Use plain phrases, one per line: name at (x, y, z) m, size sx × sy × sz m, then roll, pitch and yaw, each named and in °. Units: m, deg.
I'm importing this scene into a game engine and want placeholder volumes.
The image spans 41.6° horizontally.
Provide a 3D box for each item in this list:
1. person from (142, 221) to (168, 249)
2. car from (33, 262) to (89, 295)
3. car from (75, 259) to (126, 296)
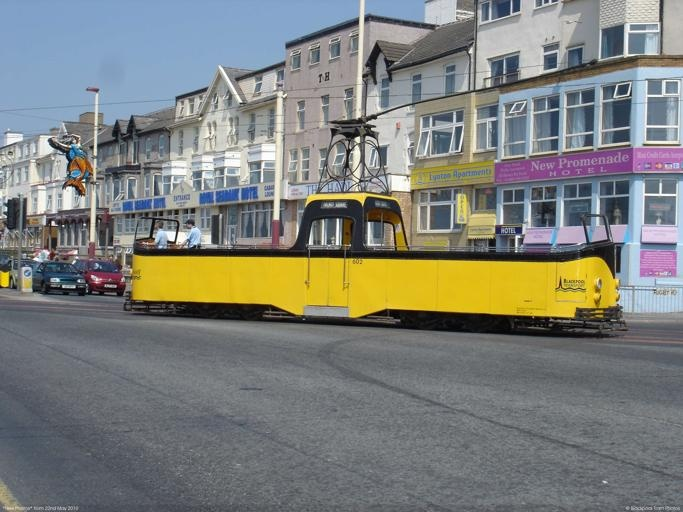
person at (-5.234, -0.632, 25.329) m, size 0.626 × 0.724 × 1.775 m, roll -1°, pitch 4°, yaw -12°
car at (-12.600, 0.950, 39.648) m, size 1.290 × 0.914 × 2.812 m, roll 2°, pitch -4°, yaw -26°
car at (-11.311, 0.883, 41.540) m, size 1.437 × 1.114 × 2.563 m, roll 2°, pitch -6°, yaw -29°
